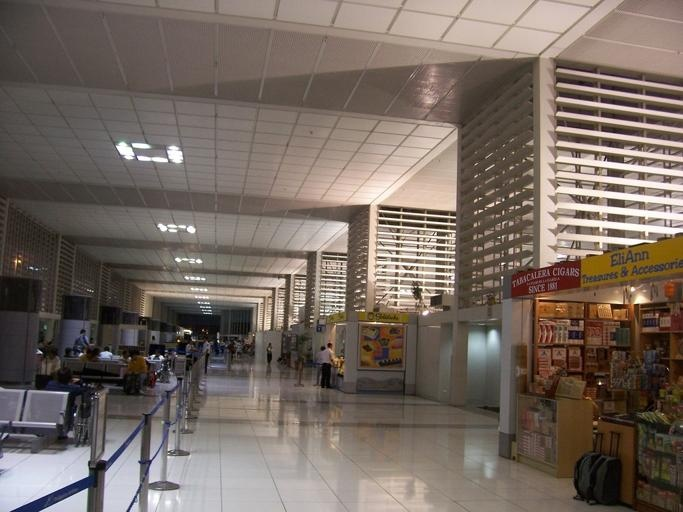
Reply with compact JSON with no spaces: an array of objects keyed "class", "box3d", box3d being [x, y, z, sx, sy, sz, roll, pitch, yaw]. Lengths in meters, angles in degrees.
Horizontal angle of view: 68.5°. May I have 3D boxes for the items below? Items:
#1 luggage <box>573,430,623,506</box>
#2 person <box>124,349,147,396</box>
[{"class":"luggage","box3d":[3.252,2.701,6.308,0.446,0.879,0.661,15,-19,-7]},{"class":"person","box3d":[-5.647,3.219,13.772,0.545,1.114,0.575,4,-11,-18]}]
